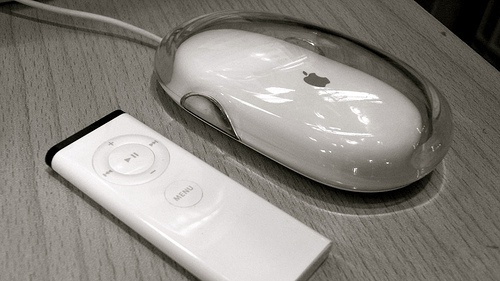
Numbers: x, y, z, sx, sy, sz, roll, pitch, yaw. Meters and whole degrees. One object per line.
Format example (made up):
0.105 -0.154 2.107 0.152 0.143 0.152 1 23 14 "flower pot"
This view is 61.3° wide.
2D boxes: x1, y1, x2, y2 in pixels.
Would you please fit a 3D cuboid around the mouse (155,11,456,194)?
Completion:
0.036 -0.072 0.607 0.396 0.087 0.220 24 43 21 "mouse"
